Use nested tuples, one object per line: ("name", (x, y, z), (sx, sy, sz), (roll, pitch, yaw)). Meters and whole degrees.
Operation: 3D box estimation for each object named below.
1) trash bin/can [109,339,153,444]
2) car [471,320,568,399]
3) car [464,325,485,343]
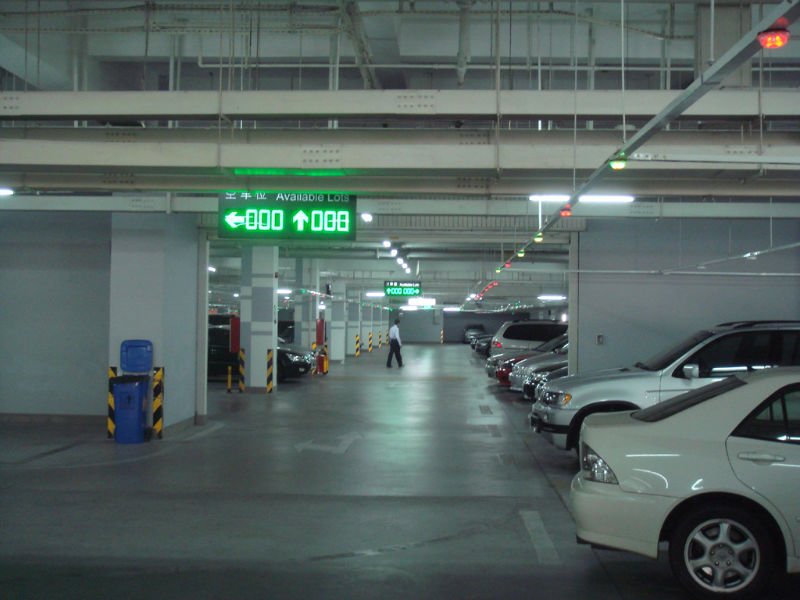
("trash bin/can", (-4.805, 1.628, 16.743), (0.772, 1.809, 0.589), (-1, -1, -19))
("car", (3.667, 1.421, 27.645), (2.412, 1.287, 1.367), (-2, 0, -3))
("car", (4.965, 2.259, 62.791), (1.295, 1.068, 3.041), (0, 0, 8))
